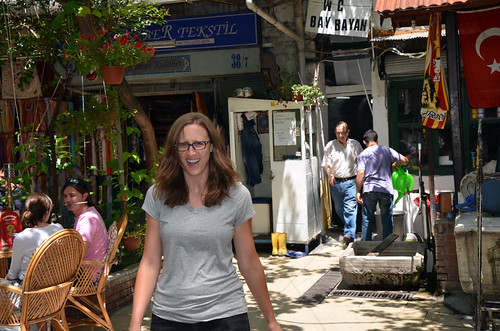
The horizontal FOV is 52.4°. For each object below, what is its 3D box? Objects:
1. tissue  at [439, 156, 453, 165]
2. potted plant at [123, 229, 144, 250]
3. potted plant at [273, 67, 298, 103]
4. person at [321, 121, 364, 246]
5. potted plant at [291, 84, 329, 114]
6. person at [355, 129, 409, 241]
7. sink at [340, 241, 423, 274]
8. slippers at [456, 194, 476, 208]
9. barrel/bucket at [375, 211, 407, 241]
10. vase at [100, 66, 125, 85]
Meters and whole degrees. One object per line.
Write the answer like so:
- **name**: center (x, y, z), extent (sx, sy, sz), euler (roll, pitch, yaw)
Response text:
- **tissue **: center (4.192, -0.083, 10.869), extent (0.320, 0.249, 0.182), euler (1, 3, 15)
- **potted plant**: center (-2.025, 1.287, 8.706), extent (0.281, 0.228, 0.296), euler (0, -4, -3)
- **potted plant**: center (0.798, -1.809, 11.134), extent (0.513, 0.808, 1.400), euler (-1, 7, 6)
- **person**: center (1.971, 0.393, 11.258), extent (0.931, 2.572, 0.745), euler (0, -1, 9)
- **potted plant**: center (1.334, -1.492, 10.940), extent (0.587, 0.467, 1.255), euler (2, 8, 28)
- **person**: center (2.561, 0.375, 9.850), extent (0.797, 2.234, 0.929), euler (0, 1, 8)
- **sink**: center (2.310, 1.546, 8.731), extent (1.306, 0.386, 1.483), euler (1, 8, 20)
- **slippers**: center (3.401, 0.569, 7.914), extent (0.201, 0.090, 0.215), euler (-6, 43, 31)
- **barrel/bucket**: center (2.967, 1.243, 10.680), extent (0.555, 0.505, 0.633), euler (0, 0, 11)
- **vase**: center (-2.015, -1.318, 7.458), extent (0.253, 0.198, 0.263), euler (0, 0, 17)
